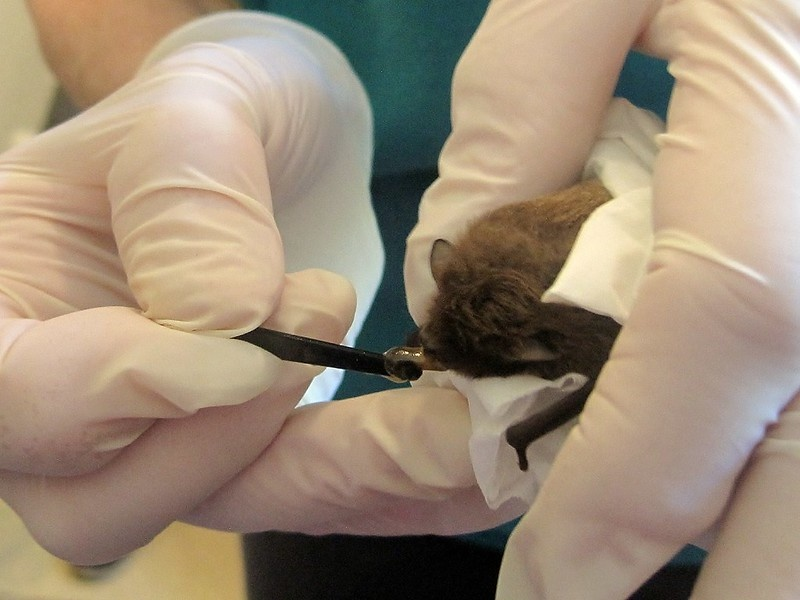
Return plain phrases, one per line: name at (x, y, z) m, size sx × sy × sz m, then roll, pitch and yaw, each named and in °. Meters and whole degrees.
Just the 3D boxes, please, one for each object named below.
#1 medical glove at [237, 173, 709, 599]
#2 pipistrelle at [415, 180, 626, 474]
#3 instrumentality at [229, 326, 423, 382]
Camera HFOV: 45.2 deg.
medical glove at (0.122, 0.155, 1.034) m, size 0.480 × 0.160 × 0.462 m, roll 7°, pitch 78°, yaw 38°
pipistrelle at (0.094, 0.013, 0.864) m, size 0.169 × 0.223 × 0.081 m, roll 39°, pitch 23°, yaw 27°
instrumentality at (-0.079, 0.055, 1.005) m, size 0.212 × 0.034 × 0.040 m, roll 8°, pitch 21°, yaw 27°
